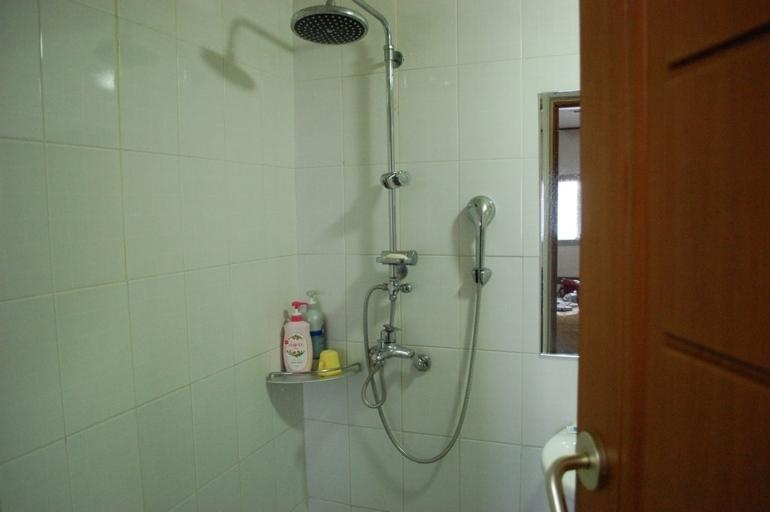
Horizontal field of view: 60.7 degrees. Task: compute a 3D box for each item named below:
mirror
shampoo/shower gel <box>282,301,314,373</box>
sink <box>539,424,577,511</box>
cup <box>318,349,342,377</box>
[{"bbox_3d":[0.564,-0.102,2.169,0.029,0.864,0.194,13,13,39],"label":"mirror"},{"bbox_3d":[-0.311,0.282,2.305,0.106,0.248,0.089,1,0,-9],"label":"shampoo/shower gel"},{"bbox_3d":[0.511,0.641,1.947,0.100,0.265,0.474,1,0,15],"label":"sink"},{"bbox_3d":[-0.194,0.376,2.290,0.057,0.069,0.094,2,7,17],"label":"cup"}]
